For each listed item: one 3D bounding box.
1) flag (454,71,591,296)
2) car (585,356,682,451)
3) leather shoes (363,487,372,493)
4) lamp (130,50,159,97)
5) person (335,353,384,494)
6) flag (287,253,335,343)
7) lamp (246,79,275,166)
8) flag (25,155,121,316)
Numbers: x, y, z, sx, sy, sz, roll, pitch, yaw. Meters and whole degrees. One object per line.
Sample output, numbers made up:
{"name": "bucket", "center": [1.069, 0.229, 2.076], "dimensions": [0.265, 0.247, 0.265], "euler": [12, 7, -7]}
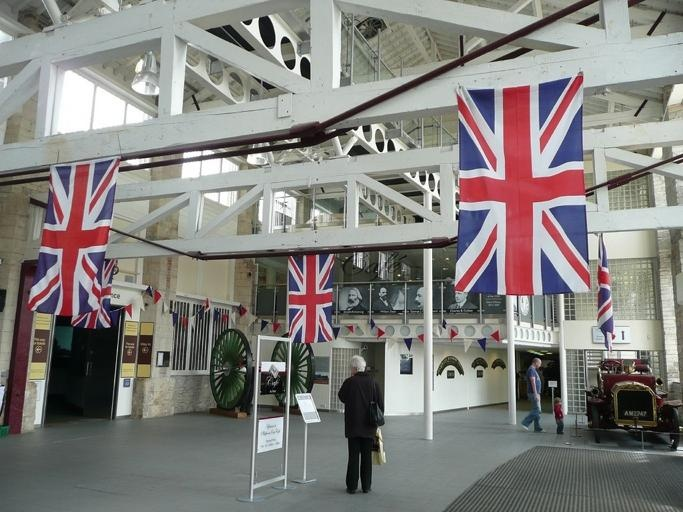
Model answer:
{"name": "flag", "center": [1.758, -0.678, 5.516], "dimensions": [1.267, 2.108, 0.392], "euler": [-3, -10, 15]}
{"name": "car", "center": [7.035, 3.584, 13.920], "dimensions": [1.607, 1.655, 2.928], "euler": [-5, -28, 18]}
{"name": "leather shoes", "center": [0.397, 3.474, 8.238], "dimensions": [0.078, 0.061, 0.165], "euler": [-7, -12, 34]}
{"name": "lamp", "center": [-3.386, -3.323, 9.791], "dimensions": [0.443, 0.748, 0.439], "euler": [9, 19, -45]}
{"name": "person", "center": [0.294, 2.524, 8.389], "dimensions": [0.641, 1.980, 0.357], "euler": [0, -9, 0]}
{"name": "flag", "center": [-0.559, 0.758, 10.054], "dimensions": [0.858, 1.571, 0.460], "euler": [-1, -9, 3]}
{"name": "lamp", "center": [-2.149, -3.363, 14.961], "dimensions": [0.720, 2.316, 3.062], "euler": [2, -10, -9]}
{"name": "flag", "center": [-3.315, -0.238, 6.892], "dimensions": [1.190, 1.887, 0.350], "euler": [-4, -10, 22]}
